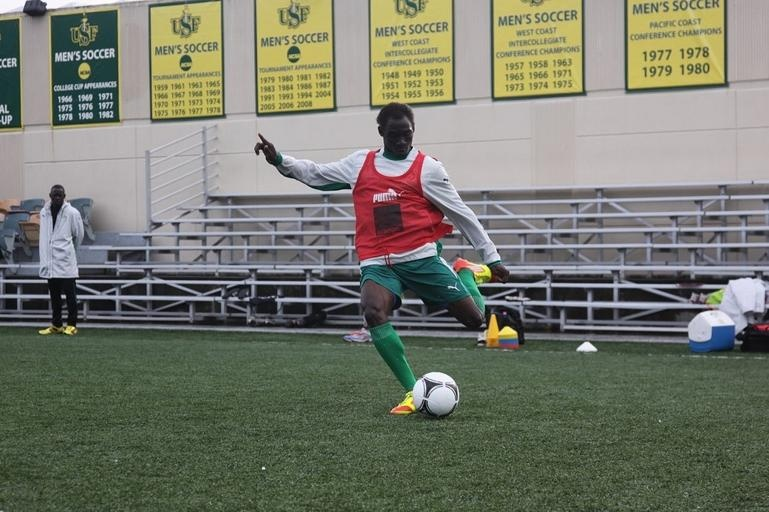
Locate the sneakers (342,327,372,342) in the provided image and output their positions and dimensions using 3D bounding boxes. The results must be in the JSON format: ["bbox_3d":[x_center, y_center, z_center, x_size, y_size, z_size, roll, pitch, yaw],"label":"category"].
[{"bbox_3d":[-0.372,1.281,28.331,0.551,0.218,0.188,0,-2,0],"label":"sneakers"}]

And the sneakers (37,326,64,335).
[{"bbox_3d":[-5.428,1.213,28.888,0.497,0.180,0.156,4,4,-3],"label":"sneakers"}]

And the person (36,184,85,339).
[{"bbox_3d":[-5.262,0.052,28.924,0.720,2.013,0.593,-1,0,-7],"label":"person"}]

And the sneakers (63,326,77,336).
[{"bbox_3d":[-5.076,1.211,28.779,0.256,0.094,0.103,4,9,8],"label":"sneakers"}]
